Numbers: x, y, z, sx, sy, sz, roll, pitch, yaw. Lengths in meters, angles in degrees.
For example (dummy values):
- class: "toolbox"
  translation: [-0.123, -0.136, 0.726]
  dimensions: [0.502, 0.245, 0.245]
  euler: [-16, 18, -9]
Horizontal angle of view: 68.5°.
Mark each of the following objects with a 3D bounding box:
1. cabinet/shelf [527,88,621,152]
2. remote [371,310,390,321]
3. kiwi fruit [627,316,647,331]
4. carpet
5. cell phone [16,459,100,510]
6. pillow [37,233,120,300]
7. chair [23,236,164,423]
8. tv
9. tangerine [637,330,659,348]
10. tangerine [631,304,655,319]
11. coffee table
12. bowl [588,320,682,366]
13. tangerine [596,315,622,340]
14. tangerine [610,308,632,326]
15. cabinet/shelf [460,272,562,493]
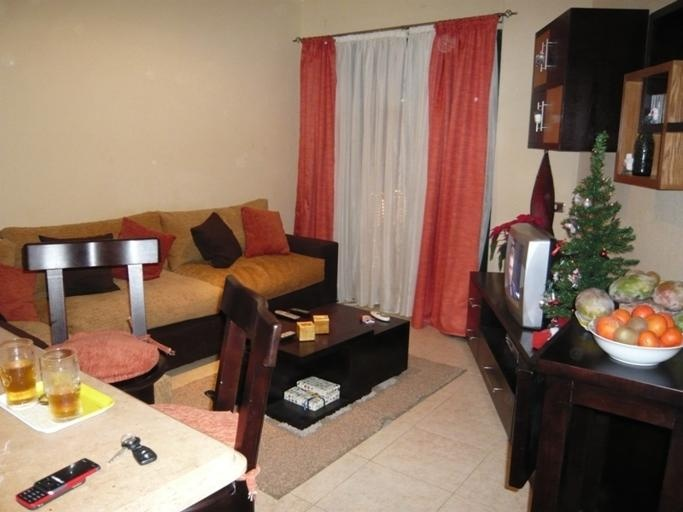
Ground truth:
- class: "cabinet/shelf"
  translation: [1.552, -0.946, 3.381]
  dimensions: [0.387, 0.444, 0.713]
  euler: [3, 20, 5]
- class: "remote"
  translation: [0.284, 0.445, 3.693]
  dimensions: [0.058, 0.037, 0.110]
  euler: [-8, 16, -32]
- class: "kiwi fruit"
  translation: [1.227, 0.280, 2.085]
  dimensions: [0.060, 0.062, 0.060]
  euler: [-1, -5, 6]
- class: "carpet"
  translation: [-0.153, 0.755, 3.028]
  dimensions: [0.796, 0.010, 1.218]
  euler: [8, 13, 33]
- class: "cell phone"
  translation: [-0.682, 0.536, 1.210]
  dimensions: [0.068, 0.025, 0.144]
  euler: [15, 21, 38]
- class: "pillow"
  translation: [-1.782, -0.014, 3.492]
  dimensions: [0.164, 0.556, 0.575]
  euler: [-17, -7, 41]
- class: "chair"
  translation: [-1.080, 0.276, 2.499]
  dimensions: [0.771, 0.840, 0.462]
  euler: [-9, 18, -24]
- class: "tv"
  translation: [1.124, 0.135, 2.936]
  dimensions: [0.319, 0.523, 0.596]
  euler: [2, 14, 4]
- class: "tangerine"
  translation: [1.236, 0.338, 2.028]
  dimensions: [0.061, 0.061, 0.059]
  euler: [8, 46, 48]
- class: "tangerine"
  translation: [1.322, 0.243, 2.206]
  dimensions: [0.072, 0.075, 0.071]
  euler: [-2, 48, 3]
- class: "coffee table"
  translation: [-0.114, 0.425, 3.392]
  dimensions: [0.582, 0.540, 1.161]
  euler: [13, 21, 37]
- class: "bowl"
  translation: [1.204, 0.371, 2.056]
  dimensions: [0.185, 0.058, 0.184]
  euler: [4, 11, -1]
- class: "tangerine"
  translation: [1.124, 0.299, 2.125]
  dimensions: [0.084, 0.089, 0.087]
  euler: [11, 32, 27]
- class: "tangerine"
  translation: [1.205, 0.260, 2.168]
  dimensions: [0.071, 0.074, 0.071]
  euler: [-23, 15, -39]
- class: "cabinet/shelf"
  translation: [0.946, 0.720, 2.799]
  dimensions: [0.304, 0.322, 1.068]
  euler: [3, 20, 4]
